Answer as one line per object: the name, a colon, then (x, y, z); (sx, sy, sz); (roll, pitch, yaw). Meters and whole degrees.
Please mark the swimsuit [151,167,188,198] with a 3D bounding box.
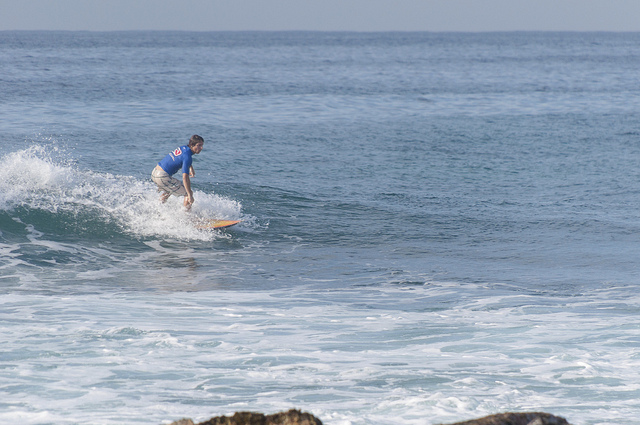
swimsuit: (-5.994, -1.226, 47.483); (1.316, 1.088, 0.436); (1, 7, -17)
